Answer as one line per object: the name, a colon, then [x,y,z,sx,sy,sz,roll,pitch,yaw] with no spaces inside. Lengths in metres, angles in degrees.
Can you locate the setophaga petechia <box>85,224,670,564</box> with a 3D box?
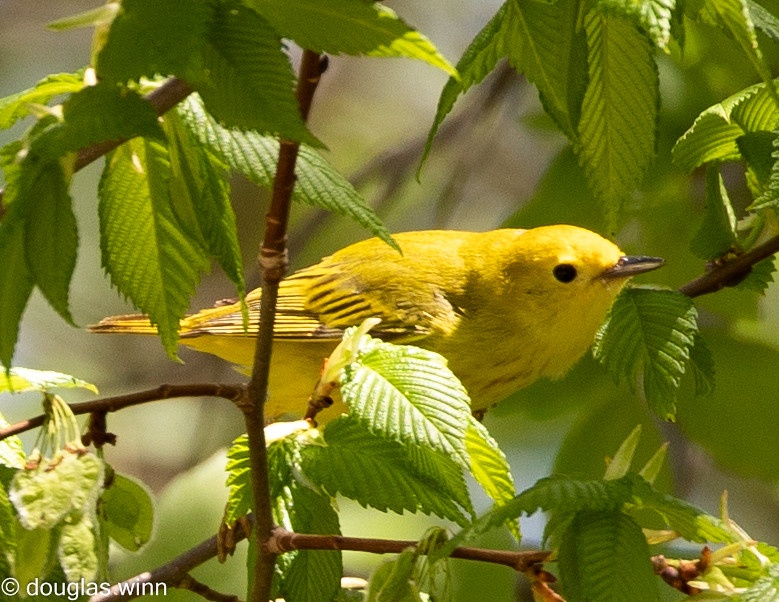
setophaga petechia: [0.145,0.085,3.108,1.607,0.511,0.493,12,19,2]
